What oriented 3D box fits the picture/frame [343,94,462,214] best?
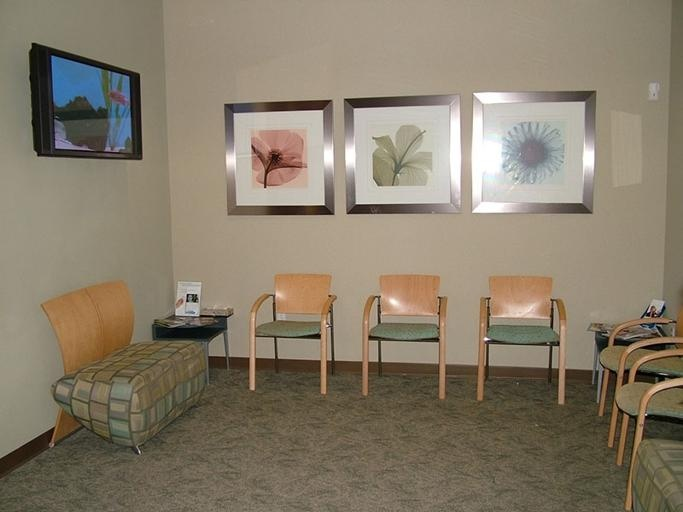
[{"bbox_3d":[0.680,-1.095,5.464,1.146,1.259,0.083,0,6,4],"label":"picture/frame"}]

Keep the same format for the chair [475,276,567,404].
[{"bbox_3d":[1.672,0.767,4.986,0.834,1.112,0.878,0,2,1],"label":"chair"}]

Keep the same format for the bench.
[{"bbox_3d":[-1.809,1.018,4.702,1.080,1.525,1.480,2,7,10],"label":"bench"}]

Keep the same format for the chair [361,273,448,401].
[{"bbox_3d":[0.632,0.754,5.237,0.787,1.040,0.862,1,13,9],"label":"chair"}]

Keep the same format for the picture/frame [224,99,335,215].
[{"bbox_3d":[-0.609,-1.095,5.650,1.149,1.254,0.081,0,7,9],"label":"picture/frame"}]

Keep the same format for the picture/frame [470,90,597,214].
[{"bbox_3d":[1.968,-1.083,5.300,1.127,1.233,0.096,1,4,3],"label":"picture/frame"}]

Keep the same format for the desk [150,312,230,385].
[{"bbox_3d":[-1.544,1.003,5.822,0.579,0.692,0.774,-19,-11,-7],"label":"desk"}]

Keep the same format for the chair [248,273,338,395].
[{"bbox_3d":[-0.449,0.724,5.256,0.739,1.124,0.790,0,-3,10],"label":"chair"}]

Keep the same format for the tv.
[{"bbox_3d":[-2.193,-1.299,4.497,0.122,0.835,1.149,5,5,21],"label":"tv"}]
